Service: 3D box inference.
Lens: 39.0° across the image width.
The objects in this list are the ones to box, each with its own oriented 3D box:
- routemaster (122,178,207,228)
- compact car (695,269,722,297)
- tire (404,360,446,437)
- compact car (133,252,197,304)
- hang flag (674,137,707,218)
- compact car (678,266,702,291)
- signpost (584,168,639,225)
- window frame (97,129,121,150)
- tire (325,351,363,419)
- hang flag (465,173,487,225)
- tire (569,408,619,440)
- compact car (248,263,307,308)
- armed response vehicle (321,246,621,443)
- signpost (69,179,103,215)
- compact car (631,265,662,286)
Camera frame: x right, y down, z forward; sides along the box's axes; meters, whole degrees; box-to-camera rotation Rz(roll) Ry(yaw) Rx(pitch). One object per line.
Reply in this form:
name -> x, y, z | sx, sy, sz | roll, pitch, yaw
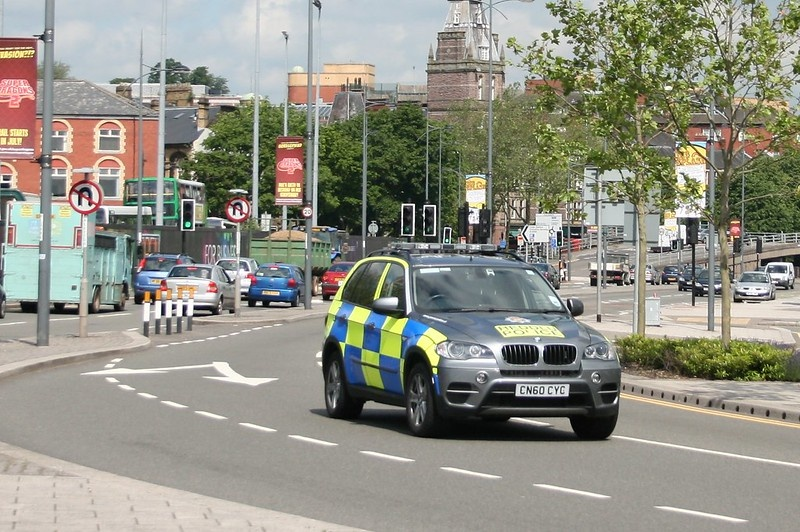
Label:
routemaster -> -15.247, -4.302, 71.498 | 3.368, 4.023, 8.916 | 0, -3, 5
compact car -> 15.174, 0.896, 55.687 | 1.466, 1.344, 3.182 | 0, -3, 10
tire -> 0.369, 1.773, 14.890 | 0.312, 0.947, 0.944 | 3, -13, -18
compact car -> -9.573, 0.670, 43.955 | 2.056, 1.809, 3.749 | 1, 6, 9
hang flag -> 6.898, -2.061, 26.895 | 0.847, 1.793, 0.125 | -2, 6, -6
compact car -> 19.384, 0.924, 75.623 | 1.759, 1.544, 3.130 | -1, -2, 10
signpost -> 7.191, -2.197, 36.700 | 2.130, 1.960, 1.696 | 4, 3, 40
window frame -> -23.778, -10.424, 92.004 | 1.605, 1.825, 0.101 | -1, 7, 2
tire -> -0.842, 1.812, 16.708 | 0.340, 1.003, 1.005 | 3, -12, -19
hang flag -> 3.845, -3.180, 57.068 | 1.266, 2.710, 0.471 | 2, 0, 33
tire -> 2.546, 2.106, 15.171 | 0.386, 0.609, 0.539 | 0, 10, -12
compact car -> -4.964, 0.704, 46.613 | 1.343, 1.104, 2.436 | 1, 4, 4
armed response vehicle -> 0.653, 1.041, 15.810 | 2.370, 1.869, 3.912 | 3, -5, -25
signpost -> -7.184, -1.576, 25.558 | 0.185, 0.766, 0.773 | 17, -10, 46
compact car -> 14.179, 0.574, 64.705 | 1.477, 1.062, 3.208 | 2, 5, 14
